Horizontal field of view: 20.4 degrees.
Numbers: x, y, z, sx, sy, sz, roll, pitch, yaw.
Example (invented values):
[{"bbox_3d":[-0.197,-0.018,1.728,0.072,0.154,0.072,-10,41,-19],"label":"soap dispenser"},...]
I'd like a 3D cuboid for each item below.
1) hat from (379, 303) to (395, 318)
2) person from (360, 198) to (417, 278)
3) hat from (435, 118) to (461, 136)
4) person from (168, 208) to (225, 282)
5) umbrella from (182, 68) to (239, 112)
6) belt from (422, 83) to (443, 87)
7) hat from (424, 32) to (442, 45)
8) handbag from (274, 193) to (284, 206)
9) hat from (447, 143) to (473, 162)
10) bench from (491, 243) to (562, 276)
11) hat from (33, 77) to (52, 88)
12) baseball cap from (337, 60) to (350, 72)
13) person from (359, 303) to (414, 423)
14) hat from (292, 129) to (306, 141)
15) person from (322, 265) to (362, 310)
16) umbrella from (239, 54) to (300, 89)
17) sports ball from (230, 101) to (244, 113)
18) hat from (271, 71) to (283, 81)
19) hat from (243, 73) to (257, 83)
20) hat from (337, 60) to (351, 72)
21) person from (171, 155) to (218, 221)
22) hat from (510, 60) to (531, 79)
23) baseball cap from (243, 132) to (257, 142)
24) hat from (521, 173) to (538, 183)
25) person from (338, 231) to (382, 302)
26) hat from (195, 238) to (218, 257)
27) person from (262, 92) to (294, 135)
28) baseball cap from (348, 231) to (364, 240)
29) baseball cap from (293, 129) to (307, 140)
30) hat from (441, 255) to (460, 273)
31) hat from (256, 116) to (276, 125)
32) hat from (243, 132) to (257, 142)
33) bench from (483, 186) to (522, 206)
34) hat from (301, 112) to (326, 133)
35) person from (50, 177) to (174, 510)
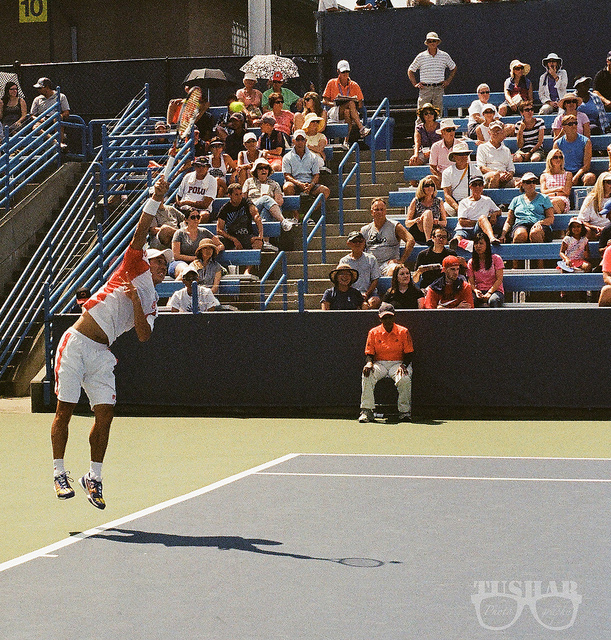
[{"bbox_3d":[0.906,-0.084,18.990,0.169,0.140,0.295,-3,-8,7],"label":"hat"},{"bbox_3d":[0.922,-0.978,21.076,0.745,1.078,0.546,-4,-2,17],"label":"person"},{"bbox_3d":[1.882,-2.602,22.733,0.240,0.114,0.279,-11,-4,-4],"label":"hat"},{"bbox_3d":[-1.370,-0.922,21.044,0.667,0.956,1.187,1,2,-1],"label":"person"},{"bbox_3d":[-1.524,-3.650,26.634,0.656,0.623,0.720,2,5,7],"label":"umbrella"},{"bbox_3d":[1.884,-3.470,25.243,0.257,0.043,0.065,1,10,12],"label":"belt"},{"bbox_3d":[1.875,-4.210,25.103,0.260,0.156,0.259,4,-3,0],"label":"hat"},{"bbox_3d":[-0.347,-1.588,22.657,0.098,0.151,0.056,-5,3,-7],"label":"handbag"},{"bbox_3d":[1.956,-2.158,21.908,0.209,0.101,0.237,-3,-10,-34],"label":"hat"},{"bbox_3d":[2.757,-0.725,21.004,1.053,0.399,0.437,1,3,34],"label":"bench"},{"bbox_3d":[-3.932,-3.542,25.505,0.315,0.204,0.230,5,10,-12],"label":"hat"},{"bbox_3d":[0.573,-3.775,25.348,0.165,0.170,0.272,-2,14,-8],"label":"baseball cap"},{"bbox_3d":[0.902,0.510,19.120,0.591,1.336,0.409,0,9,5],"label":"person"},{"bbox_3d":[-0.080,-2.520,23.305,0.284,0.190,0.492,-1,4,0],"label":"hat"},{"bbox_3d":[0.449,-0.345,20.139,0.429,0.850,0.289,1,-19,-2],"label":"person"},{"bbox_3d":[-0.530,-3.900,26.130,0.570,0.432,0.576,3,26,2],"label":"umbrella"},{"bbox_3d":[-1.024,-3.170,25.422,0.169,0.182,0.168,-5,-12,-1],"label":"sports ball"},{"bbox_3d":[-0.425,-3.677,25.722,0.180,0.141,0.160,-4,10,-15],"label":"hat"},{"bbox_3d":[-0.839,-3.686,25.964,0.277,0.137,0.296,-1,5,-1],"label":"hat"},{"bbox_3d":[0.577,-3.773,25.342,0.163,0.169,0.270,-1,12,-8],"label":"hat"},{"bbox_3d":[-1.509,-1.729,22.611,0.636,0.889,0.669,5,8,-13],"label":"person"},{"bbox_3d":[3.216,-3.745,25.520,0.287,0.419,0.153,-16,48,-11],"label":"hat"},{"bbox_3d":[-0.782,-2.537,23.785,0.181,0.102,0.288,-3,11,-6],"label":"baseball cap"},{"bbox_3d":[2.835,-1.779,21.516,0.210,0.121,0.327,-3,-6,-5],"label":"hat"},{"bbox_3d":[0.642,-0.589,20.388,0.572,0.942,0.542,-7,9,-16],"label":"person"},{"bbox_3d":[-1.225,-0.895,20.640,0.203,0.140,0.242,-3,-17,-32],"label":"hat"},{"bbox_3d":[-0.409,-2.985,25.231,0.518,0.768,0.406,-7,-4,-3],"label":"person"},{"bbox_3d":[0.615,-1.004,20.656,0.177,0.099,0.277,3,-5,-7],"label":"baseball cap"},{"bbox_3d":[-0.071,-2.518,23.247,0.213,0.130,0.352,0,6,-2],"label":"baseball cap"},{"bbox_3d":[1.673,-0.613,19.615,0.187,0.210,0.318,-1,10,3],"label":"hat"},{"bbox_3d":[-0.522,-2.828,24.179,0.182,0.126,0.270,-2,11,-8],"label":"hat"},{"bbox_3d":[-0.785,-2.540,23.814,0.193,0.107,0.308,-2,11,-6],"label":"hat"},{"bbox_3d":[2.577,-1.612,22.223,0.652,0.260,0.360,1,0,19],"label":"bench"},{"bbox_3d":[0.115,-2.817,24.138,0.269,0.168,0.288,-11,-12,2],"label":"hat"},{"bbox_3d":[-1.709,0.177,14.807,1.053,2.747,0.668,-3,10,-10],"label":"person"}]
